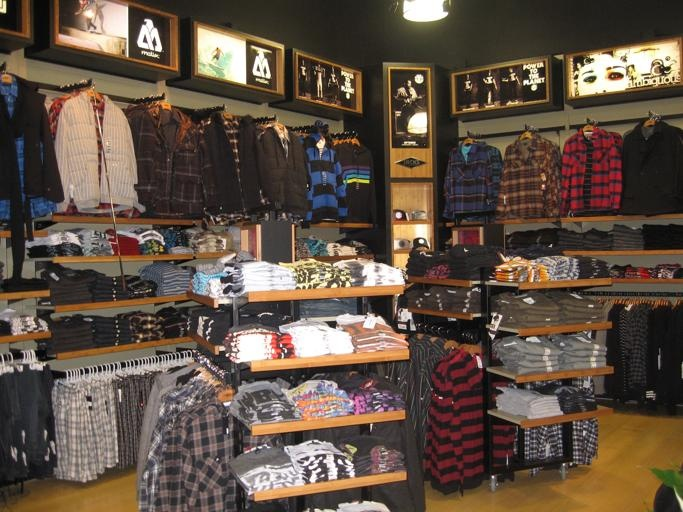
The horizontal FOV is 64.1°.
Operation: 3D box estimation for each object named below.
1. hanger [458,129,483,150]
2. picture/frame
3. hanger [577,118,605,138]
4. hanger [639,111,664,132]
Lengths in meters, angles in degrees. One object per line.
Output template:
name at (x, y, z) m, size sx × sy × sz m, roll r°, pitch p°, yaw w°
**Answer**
hanger at (1.708, -1.523, 7.284) m, size 0.277 × 0.272 × 0.298 m, roll -1°, pitch 5°, yaw 11°
picture/frame at (0.884, -1.743, 7.106) m, size 0.611 × 1.487 × 0.281 m, roll -2°, pitch 6°, yaw 3°
hanger at (2.978, -1.525, 6.571) m, size 0.252 × 0.228 × 0.356 m, roll 0°, pitch 5°, yaw 22°
hanger at (3.576, -1.549, 6.358) m, size 0.213 × 0.243 × 0.334 m, roll -2°, pitch 5°, yaw -5°
